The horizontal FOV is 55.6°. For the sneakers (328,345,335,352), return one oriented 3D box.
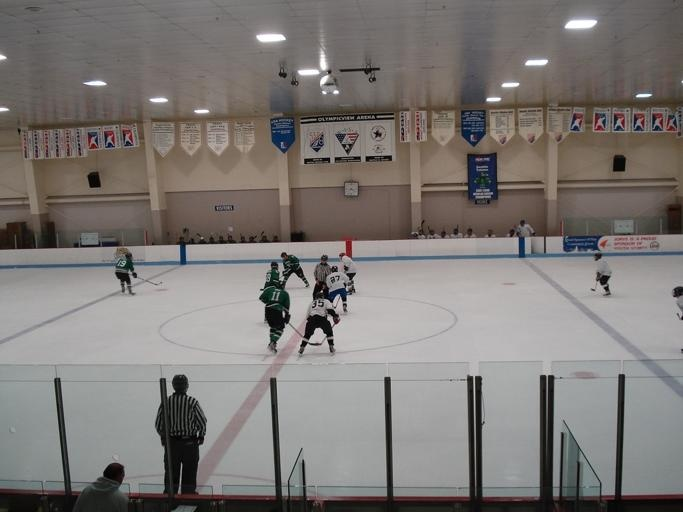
[{"bbox_3d":[-0.197,1.924,13.412,0.100,0.141,0.126,3,12,15],"label":"sneakers"}]

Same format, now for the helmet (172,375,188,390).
[{"bbox_3d":[-2.000,1.575,8.077,0.154,0.200,0.192,6,26,-10],"label":"helmet"}]

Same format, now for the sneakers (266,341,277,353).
[{"bbox_3d":[-1.475,1.903,13.661,0.292,0.291,0.127,-1,7,-19],"label":"sneakers"}]

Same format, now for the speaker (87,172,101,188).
[{"bbox_3d":[-11.374,-3.547,29.942,0.571,0.801,0.427,2,27,-6],"label":"speaker"}]

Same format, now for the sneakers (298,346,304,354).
[{"bbox_3d":[-0.803,1.924,13.281,0.121,0.190,0.112,0,2,0],"label":"sneakers"}]

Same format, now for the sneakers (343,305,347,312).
[{"bbox_3d":[0.097,1.336,16.736,0.076,0.182,0.099,-4,1,5],"label":"sneakers"}]

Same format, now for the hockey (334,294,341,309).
[{"bbox_3d":[-0.098,1.229,17.524,0.107,0.312,0.320,3,7,-4],"label":"hockey"}]

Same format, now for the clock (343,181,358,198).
[{"bbox_3d":[0.428,-3.050,29.014,0.640,0.586,0.095,6,-8,-4],"label":"clock"}]

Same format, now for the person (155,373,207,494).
[{"bbox_3d":[-1.993,2.225,8.083,0.649,1.489,0.308,-3,9,-7],"label":"person"}]

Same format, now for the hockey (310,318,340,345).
[{"bbox_3d":[-0.433,1.561,13.262,0.438,0.387,0.668,0,-30,12],"label":"hockey"}]
